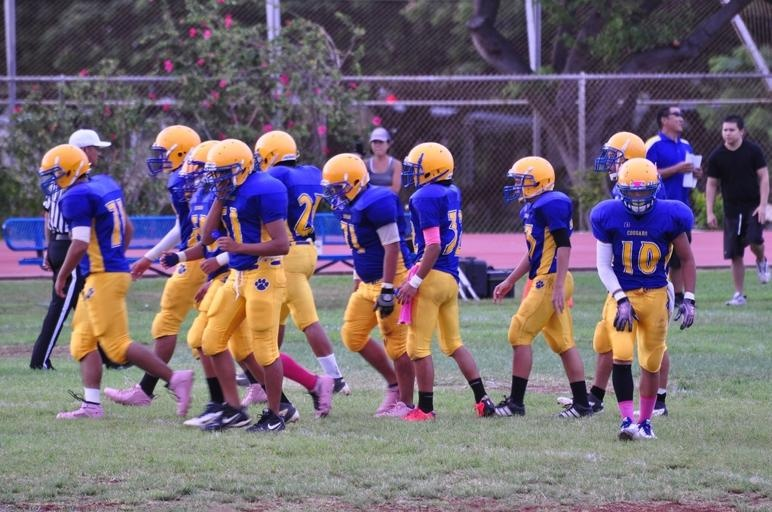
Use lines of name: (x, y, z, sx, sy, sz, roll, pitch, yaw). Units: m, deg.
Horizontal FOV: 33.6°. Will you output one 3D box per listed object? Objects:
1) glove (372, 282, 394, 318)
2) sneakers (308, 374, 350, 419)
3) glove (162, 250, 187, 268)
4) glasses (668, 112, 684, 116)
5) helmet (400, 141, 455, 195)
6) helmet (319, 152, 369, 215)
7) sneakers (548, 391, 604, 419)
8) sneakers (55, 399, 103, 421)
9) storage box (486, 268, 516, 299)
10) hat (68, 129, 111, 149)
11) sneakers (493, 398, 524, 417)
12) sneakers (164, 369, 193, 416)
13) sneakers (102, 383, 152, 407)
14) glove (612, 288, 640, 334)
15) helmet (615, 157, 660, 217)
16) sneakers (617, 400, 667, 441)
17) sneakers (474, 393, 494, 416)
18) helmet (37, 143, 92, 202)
glove: (-0.029, 0.513, 14.839, 0.164, 0.365, 0.255, 7, 16, 5)
sneakers: (-0.720, 1.625, 14.986, 0.252, 0.612, 0.197, 8, 8, 5)
glove: (-2.482, 0.041, 14.965, 0.300, 0.197, 0.339, 0, -1, -4)
glasses: (3.899, -1.926, 17.242, 0.179, 0.071, 0.144, 3, 5, -24)
helmet: (0.497, -1.086, 15.227, 0.546, 0.504, 0.463, 3, 6, 12)
helmet: (-0.491, -0.869, 14.954, 0.545, 0.662, 0.314, 0, -1, 3)
sneakers: (2.232, 1.754, 15.105, 0.587, 0.289, 0.220, 10, 2, -5)
sneakers: (-3.546, 1.788, 14.790, 0.578, 0.276, 0.206, 3, -1, -3)
storage box: (1.808, 0.440, 20.509, 0.418, 0.450, 0.447, 1, 6, 6)
hat: (-3.643, -1.449, 15.781, 0.503, 0.215, 0.342, 1, 10, -12)
sneakers: (1.377, 1.776, 14.843, 0.388, 0.222, 0.146, 9, -4, -12)
sneakers: (-2.370, 1.565, 14.837, 0.249, 0.635, 0.203, -5, 5, -11)
sneakers: (-3.072, 1.724, 15.436, 0.573, 0.308, 0.231, 15, 2, 0)
glove: (2.617, 0.610, 14.035, 0.260, 0.458, 0.169, 0, -1, 11)
helmet: (2.765, -0.738, 14.043, 0.416, 0.497, 0.585, -2, 28, 15)
sneakers: (2.830, 1.853, 14.207, 0.227, 0.302, 0.653, 12, -10, 17)
sneakers: (1.128, 1.739, 14.768, 0.167, 0.243, 0.242, -3, -21, 4)
helmet: (-3.852, -1.026, 15.250, 0.569, 0.533, 0.485, -13, 8, -7)
